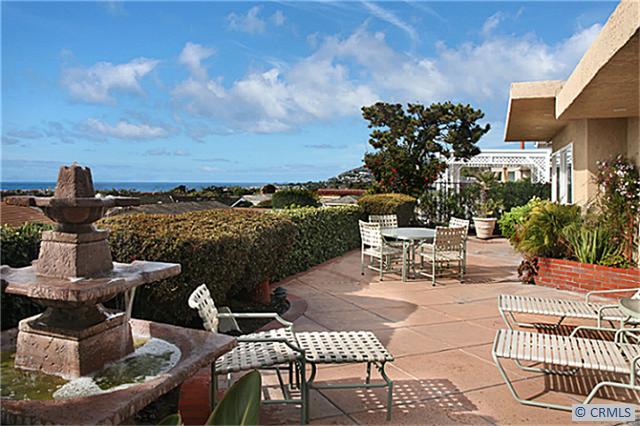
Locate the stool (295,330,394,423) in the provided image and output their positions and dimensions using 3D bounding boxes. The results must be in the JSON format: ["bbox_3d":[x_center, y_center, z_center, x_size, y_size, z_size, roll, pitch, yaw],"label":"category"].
[{"bbox_3d":[0.301,1.787,4.815,0.902,0.581,1.007,-1,4,-5],"label":"stool"}]

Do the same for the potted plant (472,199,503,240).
[{"bbox_3d":[7.028,0.222,16.836,1.017,1.510,1.022,9,13,44],"label":"potted plant"}]

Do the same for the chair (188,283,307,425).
[{"bbox_3d":[-0.658,1.543,5.189,1.639,1.659,1.293,-1,4,-3],"label":"chair"}]
